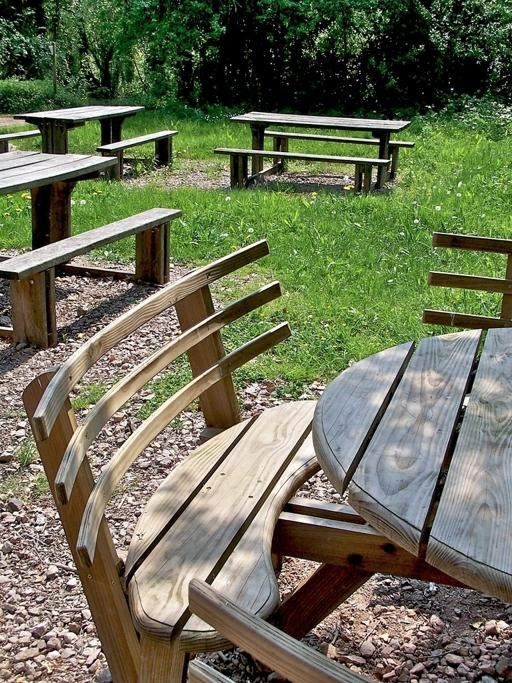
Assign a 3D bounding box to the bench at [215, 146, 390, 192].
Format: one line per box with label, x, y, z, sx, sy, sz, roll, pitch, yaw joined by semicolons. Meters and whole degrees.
bench;0.807;-2.526;9.083;2.315;0.567;2.328;5;15;13
